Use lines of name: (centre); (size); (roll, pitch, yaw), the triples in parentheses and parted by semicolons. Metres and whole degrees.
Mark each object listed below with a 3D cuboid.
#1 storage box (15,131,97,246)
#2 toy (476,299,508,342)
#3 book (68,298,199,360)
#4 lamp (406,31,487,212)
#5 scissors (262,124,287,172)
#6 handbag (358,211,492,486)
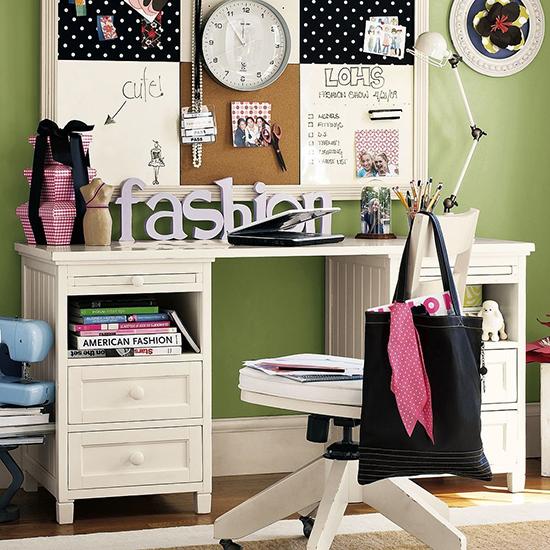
storage box: (-0.715, -0.275, 2.476); (0.276, 0.534, 0.296); (0, 3, -21)
toy: (0.681, 0.144, 2.346); (0.083, 0.149, 0.111); (-9, -18, 41)
book: (-0.406, 0.147, 2.173); (0.370, 0.158, 0.144); (0, 1, -17)
lamp: (0.641, -0.555, 2.762); (0.342, 0.658, 0.177); (-1, 1, -35)
scissors: (0.000, -0.448, 2.653); (0.020, 0.155, 0.069); (-4, 13, 41)
handbag: (0.318, 0.245, 1.605); (0.275, 0.390, 0.136); (0, 1, 9)
